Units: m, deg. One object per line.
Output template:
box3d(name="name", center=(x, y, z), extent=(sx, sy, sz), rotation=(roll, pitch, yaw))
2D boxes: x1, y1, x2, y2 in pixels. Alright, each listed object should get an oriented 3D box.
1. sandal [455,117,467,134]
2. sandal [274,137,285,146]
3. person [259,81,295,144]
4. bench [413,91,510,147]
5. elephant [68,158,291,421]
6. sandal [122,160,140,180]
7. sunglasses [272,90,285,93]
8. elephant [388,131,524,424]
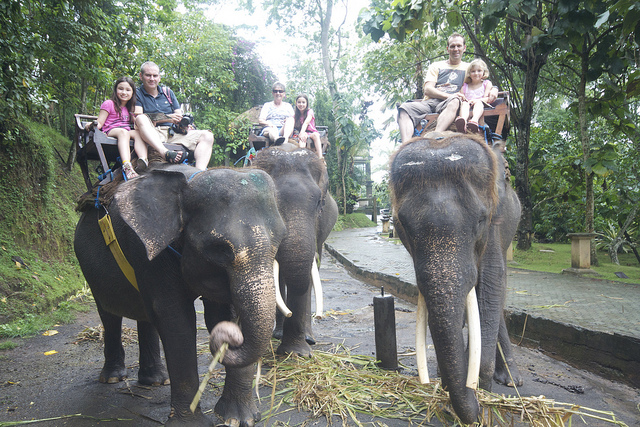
box3d(name="sandal", center=(1.551, -0.981, 5.981), extent=(0.068, 0.191, 0.073), rotation=(0, 40, 21))
box3d(name="sandal", center=(-0.544, -0.955, 7.153), extent=(0.057, 0.072, 0.185), rotation=(9, -40, -21))
box3d(name="person", center=(-0.650, -1.577, 8.460), extent=(0.579, 1.117, 1.104), rotation=(-1, 2, -10))
box3d(name="bench", center=(1.698, -1.061, 6.552), extent=(1.006, 0.765, 1.502), rotation=(2, 9, 23))
box3d(name="elephant", center=(-1.506, 0.818, 5.786), extent=(2.389, 2.782, 1.243), rotation=(7, 7, 38))
box3d(name="sandal", center=(-2.141, -0.478, 6.057), extent=(0.093, 0.273, 0.118), rotation=(-36, -21, -6))
box3d(name="sunglasses", center=(-0.676, -1.959, 8.610), extent=(0.165, 0.051, 0.096), rotation=(1, 5, -10))
box3d(name="elephant", center=(1.507, 0.614, 5.767), extent=(1.394, 2.957, 0.954), rotation=(-3, 7, -40))
